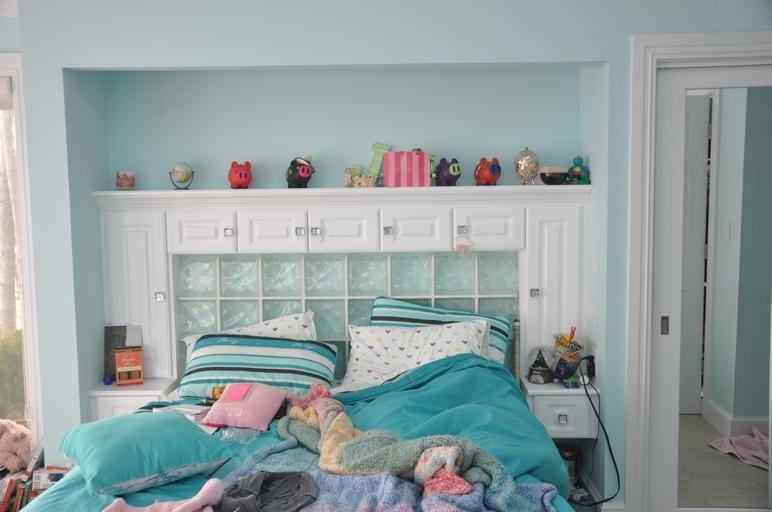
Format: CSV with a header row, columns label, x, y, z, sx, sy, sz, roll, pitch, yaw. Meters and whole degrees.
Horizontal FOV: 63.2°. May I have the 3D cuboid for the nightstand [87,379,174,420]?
label,x,y,z,sx,sy,sz,roll,pitch,yaw
nightstand,-1.940,1.074,4.568,0.484,0.290,0.500,-3,-18,-32

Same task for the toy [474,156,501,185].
label,x,y,z,sx,sy,sz,roll,pitch,yaw
toy,0.746,-0.612,4.526,0.157,0.177,0.224,2,-7,-15

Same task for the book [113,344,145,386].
label,x,y,z,sx,sy,sz,roll,pitch,yaw
book,-1.814,0.784,4.422,0.252,0.305,0.221,1,-5,-15

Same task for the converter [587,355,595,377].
label,x,y,z,sx,sy,sz,roll,pitch,yaw
converter,1.426,0.773,4.362,0.019,0.157,0.074,-10,7,-43

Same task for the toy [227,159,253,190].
label,x,y,z,sx,sy,sz,roll,pitch,yaw
toy,-1.050,-0.575,4.516,0.167,0.189,0.216,2,-12,-12

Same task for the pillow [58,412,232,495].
label,x,y,z,sx,sy,sz,roll,pitch,yaw
pillow,-1.324,1.061,3.378,0.552,0.195,0.499,3,4,-41

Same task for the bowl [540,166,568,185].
label,x,y,z,sx,sy,sz,roll,pitch,yaw
bowl,1.208,-0.574,4.558,0.148,0.095,0.150,2,-1,0

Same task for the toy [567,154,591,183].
label,x,y,z,sx,sy,sz,roll,pitch,yaw
toy,1.375,-0.604,4.483,0.145,0.206,0.171,-4,5,9

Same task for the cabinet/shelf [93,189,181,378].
label,x,y,z,sx,sy,sz,roll,pitch,yaw
cabinet/shelf,-1.822,0.304,4.577,0.212,1.337,0.519,-8,-5,38

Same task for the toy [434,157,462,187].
label,x,y,z,sx,sy,sz,roll,pitch,yaw
toy,0.435,-0.604,4.549,0.174,0.207,0.227,1,0,-34

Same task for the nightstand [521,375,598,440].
label,x,y,z,sx,sy,sz,roll,pitch,yaw
nightstand,1.218,1.045,4.378,0.391,0.379,0.404,-1,-3,4

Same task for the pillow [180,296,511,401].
label,x,y,z,sx,sy,sz,roll,pitch,yaw
pillow,-0.010,0.555,4.366,2.057,0.696,0.200,-3,-11,2

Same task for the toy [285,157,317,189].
label,x,y,z,sx,sy,sz,roll,pitch,yaw
toy,-0.625,-0.599,4.518,0.179,0.233,0.246,-2,-5,-31
